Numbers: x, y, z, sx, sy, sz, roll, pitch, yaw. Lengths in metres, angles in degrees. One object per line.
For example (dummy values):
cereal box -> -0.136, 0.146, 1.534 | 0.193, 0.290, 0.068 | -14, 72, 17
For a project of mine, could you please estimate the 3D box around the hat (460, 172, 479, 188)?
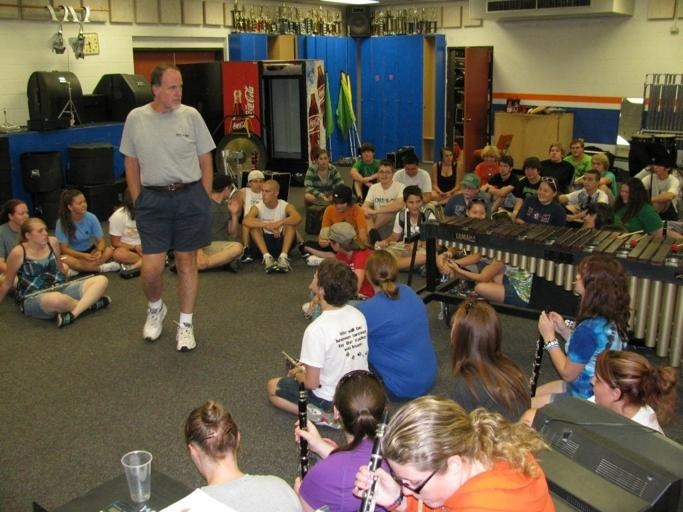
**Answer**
hat -> 1.483, -0.854, 6.296 | 0.249, 0.162, 0.181 | -4, 16, -3

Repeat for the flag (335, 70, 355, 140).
flag -> 0.070, -3.361, 12.179 | 0.413, 1.363, 0.382 | -10, 18, -25

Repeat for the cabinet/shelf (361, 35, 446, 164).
cabinet/shelf -> 1.336, -3.453, 12.177 | 2.080, 2.711, 0.530 | 9, 20, 34

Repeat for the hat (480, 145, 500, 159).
hat -> 2.260, -1.608, 8.364 | 0.255, 0.247, 0.317 | 0, 13, 11

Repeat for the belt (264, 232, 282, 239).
belt -> -0.829, -0.246, 6.586 | 0.114, 0.030, 0.109 | -6, 22, -30

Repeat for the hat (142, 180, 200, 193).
hat -> -1.287, -0.523, 4.170 | 0.399, 0.062, 0.090 | -7, 17, -15

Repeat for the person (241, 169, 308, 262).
person -> -0.835, -0.376, 6.590 | 0.634, 1.028, 1.064 | -3, 10, -5

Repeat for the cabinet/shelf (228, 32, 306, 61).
cabinet/shelf -> -1.456, -4.180, 11.022 | 1.565, 0.516, 0.557 | -16, 21, -37

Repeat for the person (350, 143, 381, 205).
person -> 0.379, -1.227, 8.408 | 0.463, 0.994, 0.743 | 1, 9, 10

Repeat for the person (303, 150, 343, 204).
person -> -0.287, -1.113, 7.824 | 0.601, 0.739, 0.608 | -16, 21, -37

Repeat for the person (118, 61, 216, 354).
person -> -1.335, -0.366, 4.287 | 0.717, 2.119, 0.535 | -1, 8, -14

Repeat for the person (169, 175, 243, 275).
person -> -1.433, -0.429, 6.705 | 1.176, 1.452, 1.102 | 2, 7, -8

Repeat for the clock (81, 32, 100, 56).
clock -> -3.964, -3.360, 8.716 | 0.081, 0.326, 0.351 | 6, 10, 27

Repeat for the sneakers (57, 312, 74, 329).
sneakers -> -2.487, 0.579, 4.957 | 0.090, 0.072, 0.197 | -12, 3, -9

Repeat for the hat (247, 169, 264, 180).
hat -> -1.069, -1.000, 6.821 | 0.144, 0.106, 0.202 | -10, 12, -33

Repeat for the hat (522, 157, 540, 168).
hat -> 2.436, -1.211, 7.090 | 0.141, 0.158, 0.192 | 3, 4, 32

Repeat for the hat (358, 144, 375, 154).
hat -> 0.382, -1.615, 8.341 | 0.156, 0.176, 0.183 | 1, 5, 5

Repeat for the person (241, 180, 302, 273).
person -> -0.835, -0.359, 6.571 | 0.610, 1.055, 1.043 | -2, 8, -13

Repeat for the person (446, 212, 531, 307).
person -> 1.258, 0.261, 5.007 | 0.770, 1.082, 0.522 | 2, -16, -9

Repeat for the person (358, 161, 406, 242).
person -> 0.485, -0.625, 6.891 | 0.532, 1.082, 0.797 | 8, 13, 34

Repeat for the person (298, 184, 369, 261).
person -> -0.055, -0.352, 6.193 | 0.771, 0.896, 0.651 | -6, 12, -30

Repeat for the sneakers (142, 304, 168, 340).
sneakers -> -1.607, 0.577, 4.736 | 0.151, 0.381, 0.173 | 1, 0, -6

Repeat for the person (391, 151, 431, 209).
person -> 0.917, -0.968, 7.336 | 0.678, 0.734, 0.514 | 5, 37, 18

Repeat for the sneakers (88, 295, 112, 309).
sneakers -> -2.305, 0.465, 5.287 | 0.211, 0.070, 0.146 | -36, -18, -21

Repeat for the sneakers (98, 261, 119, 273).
sneakers -> -2.613, 0.133, 6.211 | 0.233, 0.100, 0.085 | -5, 15, -31

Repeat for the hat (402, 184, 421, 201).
hat -> 0.718, -0.658, 5.710 | 0.170, 0.180, 0.135 | 1, 4, -42

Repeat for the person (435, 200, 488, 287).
person -> 1.228, -0.132, 5.199 | 0.200, 0.742, 0.568 | 7, 9, -36

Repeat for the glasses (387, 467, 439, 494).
glasses -> 0.225, 0.716, 1.709 | 0.110, 0.030, 0.108 | -30, 19, -32

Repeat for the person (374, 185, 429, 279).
person -> 0.643, -0.304, 5.779 | 0.587, 0.784, 0.611 | 7, 18, 18

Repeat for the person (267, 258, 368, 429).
person -> -0.116, 0.499, 3.514 | 0.633, 0.951, 0.632 | 10, 20, 28

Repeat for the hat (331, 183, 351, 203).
hat -> 0.011, -0.691, 6.215 | 0.211, 0.210, 0.256 | -2, 16, 0

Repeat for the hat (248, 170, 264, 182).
hat -> -1.054, -0.977, 6.827 | 0.141, 0.155, 0.192 | -4, 21, -12

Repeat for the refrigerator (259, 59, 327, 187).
refrigerator -> -0.876, -2.601, 10.414 | 1.335, 1.980, 1.316 | -4, 20, -5

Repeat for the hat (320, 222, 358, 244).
hat -> -0.061, -0.166, 4.991 | 0.332, 0.124, 0.219 | 8, 27, 22

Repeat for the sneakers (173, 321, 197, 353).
sneakers -> -1.295, 0.687, 4.541 | 0.114, 0.131, 0.293 | -2, 6, -12
